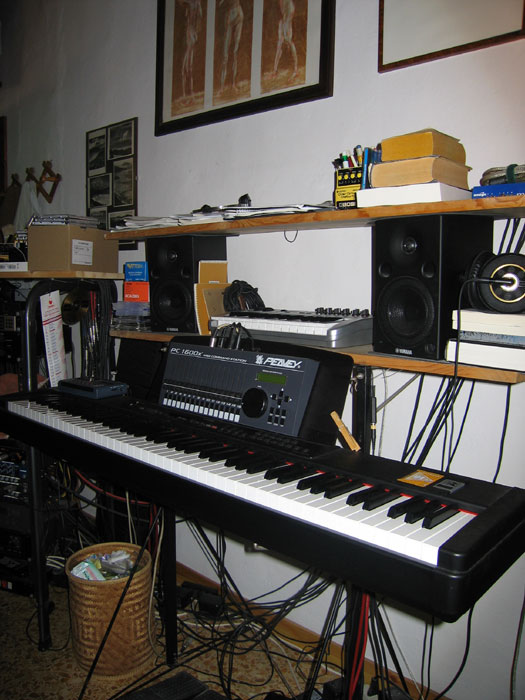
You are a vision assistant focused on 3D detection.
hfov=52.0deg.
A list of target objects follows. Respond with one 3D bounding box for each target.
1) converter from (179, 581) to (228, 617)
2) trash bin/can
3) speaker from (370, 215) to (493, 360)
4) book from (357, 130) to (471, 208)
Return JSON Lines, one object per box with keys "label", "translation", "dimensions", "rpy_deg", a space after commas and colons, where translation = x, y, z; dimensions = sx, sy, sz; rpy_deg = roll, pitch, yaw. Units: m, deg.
{"label": "converter", "translation": [-0.226, 0.942, 2.108], "dimensions": [0.163, 0.061, 0.159], "rpy_deg": [16, -18, 3]}
{"label": "trash bin/can", "translation": [-0.481, 0.861, 1.910], "dimensions": [0.325, 0.365, 0.325], "rpy_deg": [-5, 12, -32]}
{"label": "speaker", "translation": [0.445, -0.161, 1.304], "dimensions": [0.328, 0.322, 0.216], "rpy_deg": [-5, 9, -13]}
{"label": "book", "translation": [0.333, -0.376, 1.237], "dimensions": [0.204, 0.153, 0.209], "rpy_deg": [4, 12, 36]}
